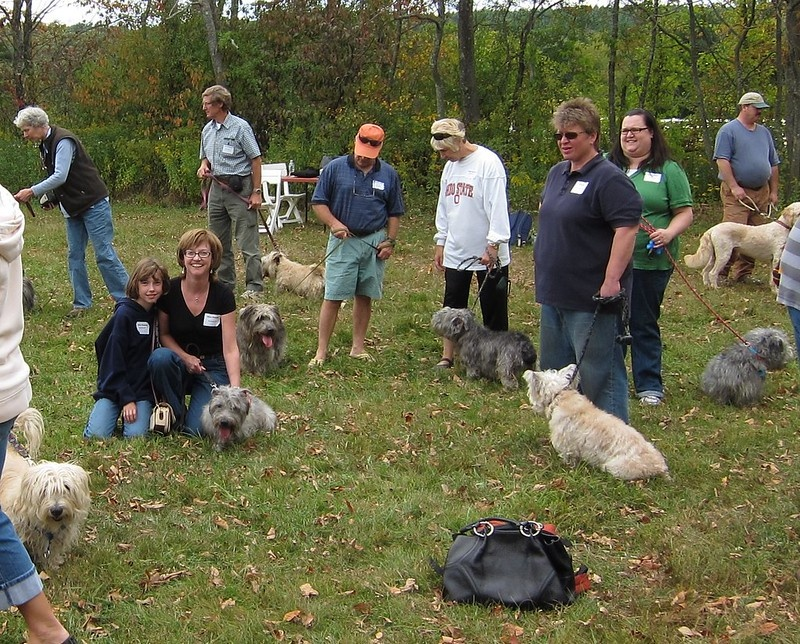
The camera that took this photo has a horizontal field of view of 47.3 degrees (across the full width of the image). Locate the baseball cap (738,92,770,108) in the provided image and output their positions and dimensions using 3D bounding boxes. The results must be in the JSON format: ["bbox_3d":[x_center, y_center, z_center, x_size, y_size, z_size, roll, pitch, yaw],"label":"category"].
[{"bbox_3d":[4.494,-2.800,11.607,0.321,0.174,0.219,7,15,36],"label":"baseball cap"}]

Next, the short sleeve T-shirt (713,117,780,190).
[{"bbox_3d":[4.573,-2.202,11.999,0.868,0.907,0.321,0,8,-16],"label":"short sleeve T-shirt"}]

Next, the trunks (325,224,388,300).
[{"bbox_3d":[-0.444,-0.666,9.680,0.613,0.881,0.453,4,24,-7],"label":"trunks"}]

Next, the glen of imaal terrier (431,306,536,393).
[{"bbox_3d":[0.874,0.268,9.445,1.140,0.702,0.422,8,13,28],"label":"glen of imaal terrier"}]

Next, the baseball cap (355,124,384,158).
[{"bbox_3d":[-0.308,-1.905,9.304,0.235,0.370,0.144,8,-32,-1],"label":"baseball cap"}]

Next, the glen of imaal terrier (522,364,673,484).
[{"bbox_3d":[1.603,0.880,7.546,0.324,0.496,0.872,-33,54,-26],"label":"glen of imaal terrier"}]

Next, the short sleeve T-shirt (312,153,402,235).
[{"bbox_3d":[-0.444,-1.344,9.648,0.945,0.843,0.521,3,7,-11],"label":"short sleeve T-shirt"}]

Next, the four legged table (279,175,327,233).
[{"bbox_3d":[-2.090,-2.324,17.672,1.118,1.136,1.158,2,16,7],"label":"four legged table"}]

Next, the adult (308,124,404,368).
[{"bbox_3d":[-0.442,-0.810,9.629,0.977,2.550,0.796,-3,11,-20],"label":"adult"}]

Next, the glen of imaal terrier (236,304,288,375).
[{"bbox_3d":[-1.484,0.159,9.696,0.498,0.722,0.614,-3,16,-34],"label":"glen of imaal terrier"}]

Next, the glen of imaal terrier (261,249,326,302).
[{"bbox_3d":[-1.581,-0.722,12.881,1.155,0.598,0.472,22,26,31],"label":"glen of imaal terrier"}]

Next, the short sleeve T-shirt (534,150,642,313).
[{"bbox_3d":[1.510,-0.697,7.243,0.619,1.197,1.148,-6,18,-23],"label":"short sleeve T-shirt"}]

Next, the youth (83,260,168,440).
[{"bbox_3d":[-2.373,0.379,7.936,0.586,1.957,0.542,4,14,-33],"label":"youth"}]

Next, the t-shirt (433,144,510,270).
[{"bbox_3d":[0.726,-1.141,9.158,0.321,1.238,0.851,-5,11,-40],"label":"t-shirt"}]
